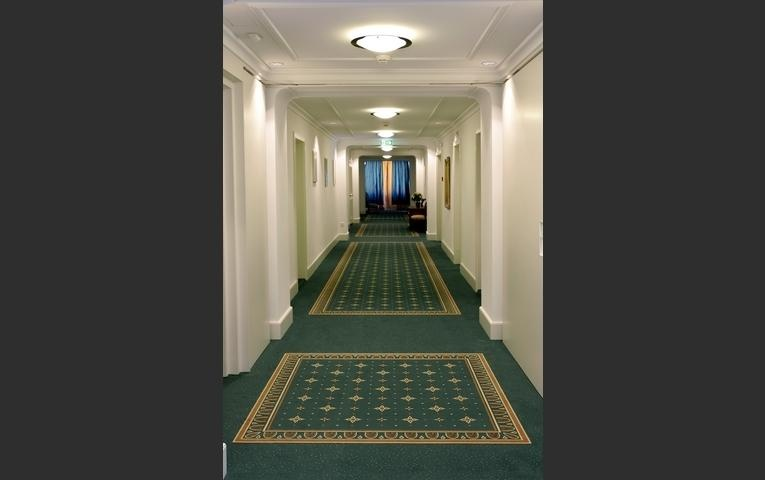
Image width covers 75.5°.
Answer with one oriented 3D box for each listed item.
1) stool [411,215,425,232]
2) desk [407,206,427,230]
[{"bbox_3d":[1.136,-0.515,16.384,0.515,0.483,0.506,-1,-1,-34],"label":"stool"},{"bbox_3d":[1.175,-0.644,16.582,0.616,0.763,1.076,1,2,6],"label":"desk"}]
